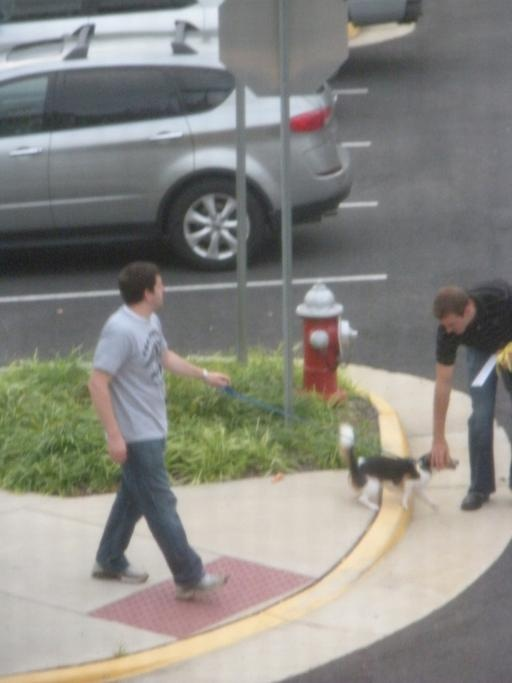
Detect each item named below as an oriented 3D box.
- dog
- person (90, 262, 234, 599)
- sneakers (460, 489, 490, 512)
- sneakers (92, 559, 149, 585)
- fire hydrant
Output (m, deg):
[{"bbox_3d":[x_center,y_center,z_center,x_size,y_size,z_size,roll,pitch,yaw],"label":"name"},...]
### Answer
[{"bbox_3d":[0.782,0.657,6.622,0.713,0.705,0.315,2,-5,-8],"label":"dog"},{"bbox_3d":[-0.432,0.398,5.744,0.619,1.564,0.531,-11,16,-44],"label":"person"},{"bbox_3d":[1.141,0.815,6.621,0.068,0.087,0.174,0,13,37],"label":"sneakers"},{"bbox_3d":[-0.632,1.093,5.951,0.255,0.153,0.109,1,2,0],"label":"sneakers"},{"bbox_3d":[0.430,-0.005,7.593,0.343,0.745,0.346,-1,8,7],"label":"fire hydrant"}]
